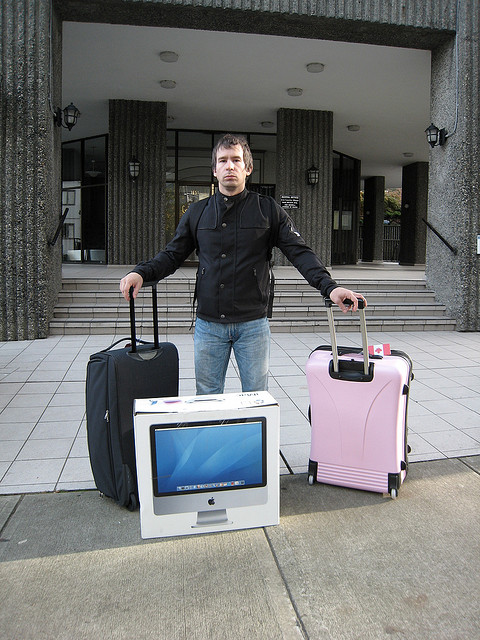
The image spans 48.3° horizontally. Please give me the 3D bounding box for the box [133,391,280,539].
[{"bbox_3d":[-0.118,0.534,1.942,0.443,0.480,0.163,-1,5,-12],"label":"box"}]

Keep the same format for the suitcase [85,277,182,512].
[{"bbox_3d":[-0.438,0.314,2.296,0.303,0.951,0.386,2,6,41],"label":"suitcase"}]

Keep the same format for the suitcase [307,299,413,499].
[{"bbox_3d":[0.540,0.306,2.406,0.436,1.009,0.376,3,25,19],"label":"suitcase"}]
